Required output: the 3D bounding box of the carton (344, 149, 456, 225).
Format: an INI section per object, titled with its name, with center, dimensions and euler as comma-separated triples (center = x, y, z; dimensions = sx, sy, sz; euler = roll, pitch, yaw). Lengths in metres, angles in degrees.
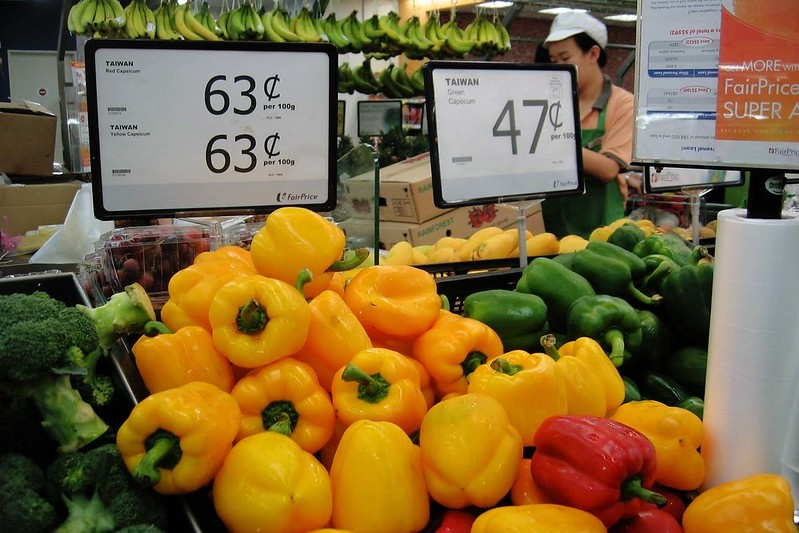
[carton]
center = 0.148, -0.701, 5.113
dimensions = 0.851, 0.366, 1.165
euler = 6, 18, 43
